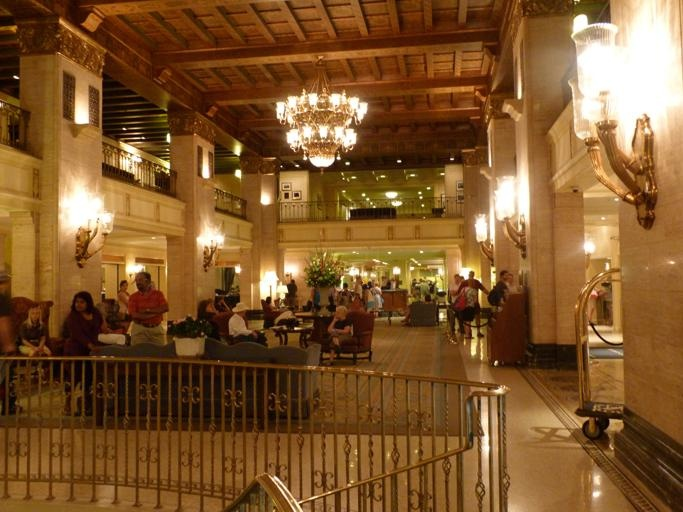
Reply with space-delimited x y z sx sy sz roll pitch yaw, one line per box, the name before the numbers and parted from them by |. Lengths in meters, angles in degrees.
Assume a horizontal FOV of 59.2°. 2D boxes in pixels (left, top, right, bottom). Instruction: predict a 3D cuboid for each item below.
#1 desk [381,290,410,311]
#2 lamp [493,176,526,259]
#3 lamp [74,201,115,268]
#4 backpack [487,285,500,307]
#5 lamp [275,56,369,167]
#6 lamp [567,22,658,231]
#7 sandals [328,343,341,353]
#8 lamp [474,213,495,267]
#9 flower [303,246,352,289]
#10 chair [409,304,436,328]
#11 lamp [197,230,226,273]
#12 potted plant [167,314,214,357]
desk | 2.151 1.820 24.076 1.179 0.978 0.717 -1 -5 7
lamp | 3.035 -0.704 10.758 0.507 1.550 1.221 -1 -4 15
lamp | -4.565 -0.409 11.214 0.443 1.328 0.733 0 -4 3
backpack | 2.810 0.741 11.024 0.116 0.343 0.229 9 -5 -16
lamp | -0.425 -2.999 12.645 1.763 2.368 1.820 -2 1 -9
lamp | 2.445 -1.201 5.439 0.696 1.959 0.842 -1 -4 23
sandals | -0.107 1.643 10.675 0.183 0.152 0.347 2 -7 -9
lamp | 3.497 -0.409 14.667 0.399 1.394 2.210 -1 -4 12
flower | -0.224 0.253 12.609 0.867 1.107 0.973 2 -5 -13
chair | 2.504 1.858 18.472 0.659 0.595 0.704 1 1 9
lamp | -3.533 -0.136 16.488 0.424 1.208 1.301 0 -4 4
potted plant | -1.828 0.973 7.496 0.514 0.573 0.448 1 -4 4
